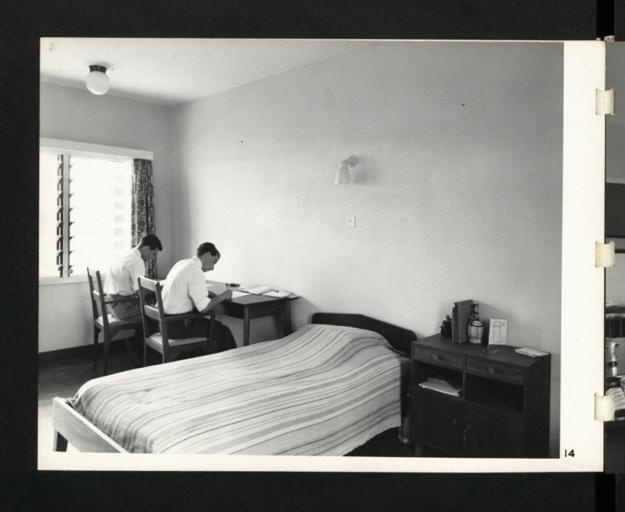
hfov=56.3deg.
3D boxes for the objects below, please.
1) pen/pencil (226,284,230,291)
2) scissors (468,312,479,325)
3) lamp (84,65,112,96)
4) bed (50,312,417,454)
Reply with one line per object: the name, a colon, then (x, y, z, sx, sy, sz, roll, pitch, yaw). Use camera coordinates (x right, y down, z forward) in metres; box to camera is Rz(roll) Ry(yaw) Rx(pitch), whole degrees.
pen/pencil: (-0.272, 0.100, 1.871, 0.012, 0.025, 0.012, 1, 8, 0)
scissors: (0.505, 0.200, 1.841, 0.035, 0.039, 0.022, 19, 2, 20)
lamp: (-0.640, -0.524, 1.739, 0.069, 0.098, 0.073, 0, 12, -14)
bed: (-0.163, 0.301, 1.765, 0.751, 0.355, 0.477, -9, 14, -37)
